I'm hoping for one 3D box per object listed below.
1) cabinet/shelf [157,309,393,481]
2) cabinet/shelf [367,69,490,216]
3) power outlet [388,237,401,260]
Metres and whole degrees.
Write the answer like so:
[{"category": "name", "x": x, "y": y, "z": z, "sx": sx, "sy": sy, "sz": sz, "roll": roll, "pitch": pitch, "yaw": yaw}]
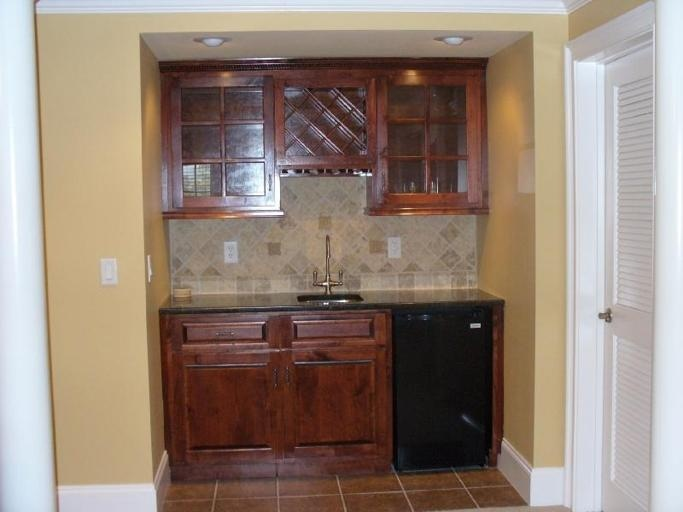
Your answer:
[{"category": "cabinet/shelf", "x": -0.383, "y": 0.685, "z": 3.253, "sx": 0.917, "sy": 0.668, "sz": 0.335, "roll": 0, "pitch": 2, "yaw": -2}, {"category": "cabinet/shelf", "x": 0.495, "y": -0.636, "z": 3.467, "sx": 0.706, "sy": 0.818, "sz": 0.284, "roll": 2, "pitch": 19, "yaw": 18}, {"category": "power outlet", "x": 0.323, "y": -0.052, "z": 3.813, "sx": 0.085, "sy": 0.127, "sz": 0.025, "roll": 0, "pitch": 9, "yaw": 4}]
